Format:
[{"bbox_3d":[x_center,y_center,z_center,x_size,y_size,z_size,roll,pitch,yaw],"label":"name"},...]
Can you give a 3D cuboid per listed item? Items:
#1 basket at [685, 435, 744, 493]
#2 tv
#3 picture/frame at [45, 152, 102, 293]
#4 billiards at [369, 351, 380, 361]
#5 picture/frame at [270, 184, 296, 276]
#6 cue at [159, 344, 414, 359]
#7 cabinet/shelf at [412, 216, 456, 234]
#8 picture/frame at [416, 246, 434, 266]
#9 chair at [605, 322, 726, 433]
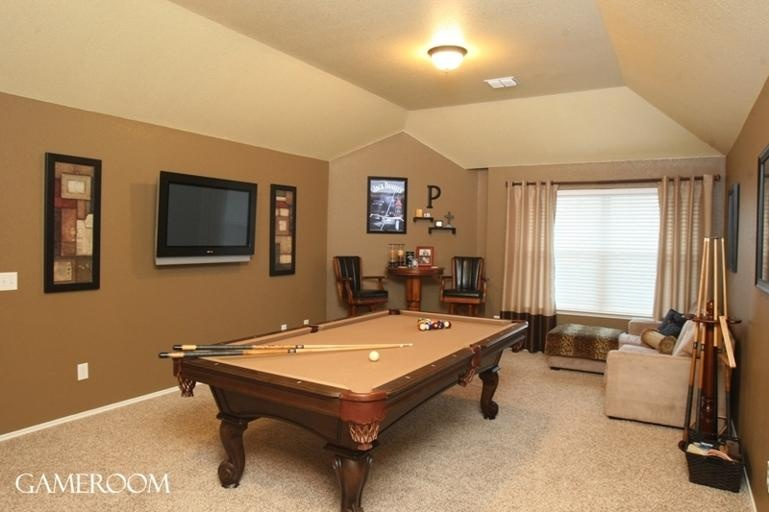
[{"bbox_3d":[2.834,1.802,4.821,0.450,0.318,0.327,5,12,17],"label":"basket"},{"bbox_3d":[-2.101,-0.487,6.433,0.187,0.918,1.141,3,1,37],"label":"tv"},{"bbox_3d":[-3.151,-0.332,5.638,0.633,1.378,0.294,-7,15,-34],"label":"picture/frame"},{"bbox_3d":[-0.081,0.825,4.545,0.071,0.068,0.070,0,-8,-2],"label":"billiards"},{"bbox_3d":[-1.410,-0.360,7.734,0.174,1.278,0.626,8,14,24],"label":"picture/frame"},{"bbox_3d":[-0.778,0.789,4.563,1.063,0.045,0.149,-1,-23,-11],"label":"cue"},{"bbox_3d":[0.827,-0.494,8.973,0.725,0.288,0.084,0,13,-9],"label":"cabinet/shelf"},{"bbox_3d":[0.634,0.009,8.815,0.333,0.362,0.063,1,-12,-4],"label":"picture/frame"},{"bbox_3d":[2.927,1.308,5.958,0.908,0.778,1.677,0,-4,28],"label":"chair"}]
